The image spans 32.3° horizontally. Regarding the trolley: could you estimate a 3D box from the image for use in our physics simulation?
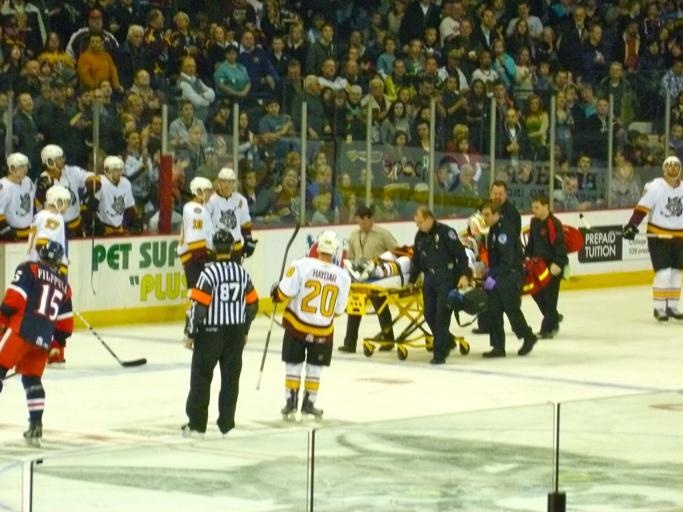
[{"bbox_3d":[0.829,0.751,13.537,1.357,0.823,0.653,-1,1,-10],"label":"trolley"}]

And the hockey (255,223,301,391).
[{"bbox_3d":[-0.761,0.783,12.828,0.396,1.868,0.336,-3,13,-32],"label":"hockey"}]

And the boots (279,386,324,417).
[{"bbox_3d":[-0.371,1.361,10.794,0.495,0.387,0.174,-1,1,-10],"label":"boots"}]
